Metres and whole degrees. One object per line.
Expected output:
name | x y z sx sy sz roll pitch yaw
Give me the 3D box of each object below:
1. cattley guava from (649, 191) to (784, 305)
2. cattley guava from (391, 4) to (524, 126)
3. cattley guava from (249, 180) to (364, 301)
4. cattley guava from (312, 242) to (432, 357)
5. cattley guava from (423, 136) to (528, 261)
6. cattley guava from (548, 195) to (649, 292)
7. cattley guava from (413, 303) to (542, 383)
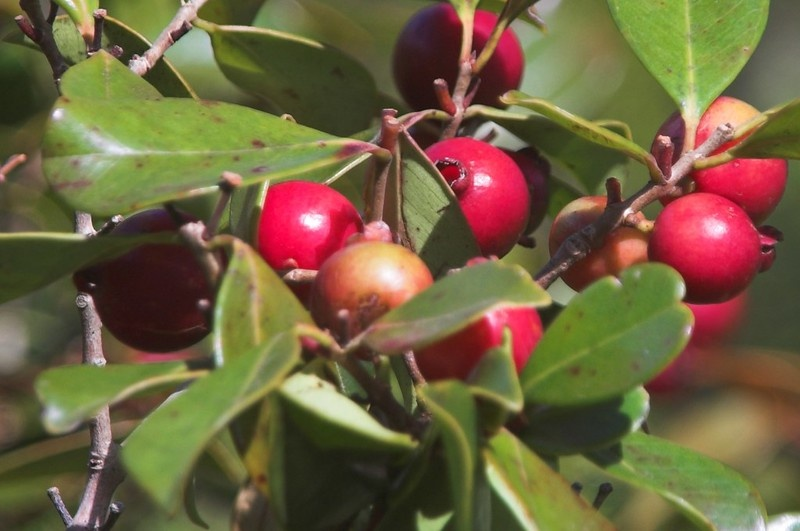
cattley guava | 0.536 -0.037 1.643 0.187 0.198 0.167 -4 46 -43
cattley guava | 0.119 -0.412 1.809 0.241 0.237 0.198 7 14 -45
cattley guava | -0.171 -0.067 1.560 0.161 0.193 0.163 7 4 7
cattley guava | -0.039 0.042 1.455 0.174 0.162 0.148 -27 45 -4
cattley guava | 0.157 -0.127 1.593 0.189 0.201 0.225 -2 -9 14
cattley guava | 0.364 -0.034 1.660 0.116 0.139 0.191 9 13 -37
cattley guava | 0.157 0.125 1.458 0.130 0.110 0.150 -1 0 30
